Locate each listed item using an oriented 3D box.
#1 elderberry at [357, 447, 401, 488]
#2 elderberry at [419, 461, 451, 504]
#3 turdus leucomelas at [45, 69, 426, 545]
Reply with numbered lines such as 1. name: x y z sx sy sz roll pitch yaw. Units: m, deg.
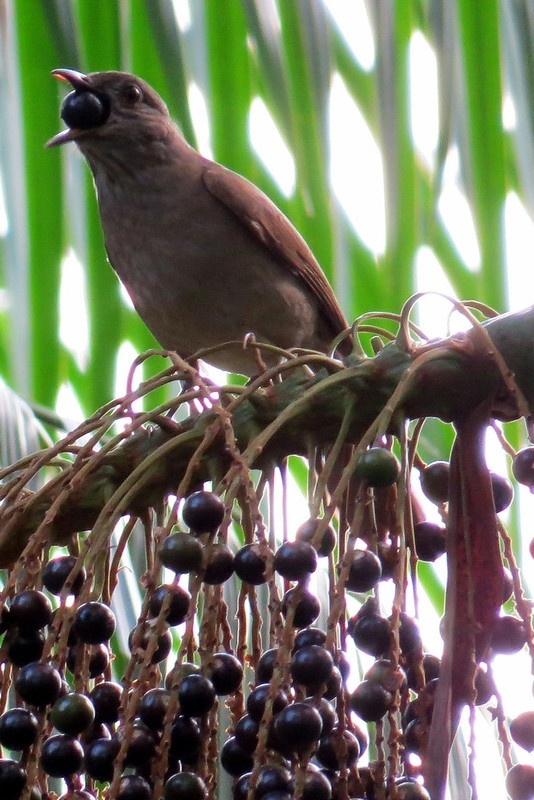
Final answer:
1. elderberry: 0.107 0.063 1.380 0.035 0.039 0.036 1 1 3
2. elderberry: 0.185 0.093 1.602 0.038 0.050 0.041 0 -1 9
3. turdus leucomelas: -0.029 -0.236 2.645 0.281 0.518 0.850 -19 -21 39
